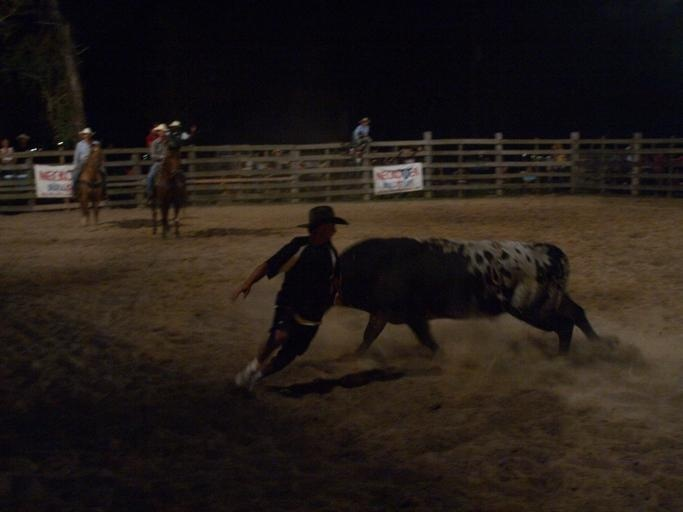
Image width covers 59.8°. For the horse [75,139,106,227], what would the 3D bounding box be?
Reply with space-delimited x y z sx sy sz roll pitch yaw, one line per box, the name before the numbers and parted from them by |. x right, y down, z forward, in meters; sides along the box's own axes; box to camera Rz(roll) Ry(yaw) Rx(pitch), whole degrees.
horse | -5.366 -1.526 12.580 0.583 1.727 1.271 -1 8 -22

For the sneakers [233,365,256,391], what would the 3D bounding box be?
sneakers | -0.837 1.063 5.154 0.099 0.139 0.239 -42 0 -40

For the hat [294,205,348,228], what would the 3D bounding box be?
hat | -0.160 -0.325 5.000 0.380 0.121 0.308 -4 3 -15

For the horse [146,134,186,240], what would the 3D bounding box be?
horse | -3.419 -1.284 11.528 0.631 1.698 1.922 0 8 -18
